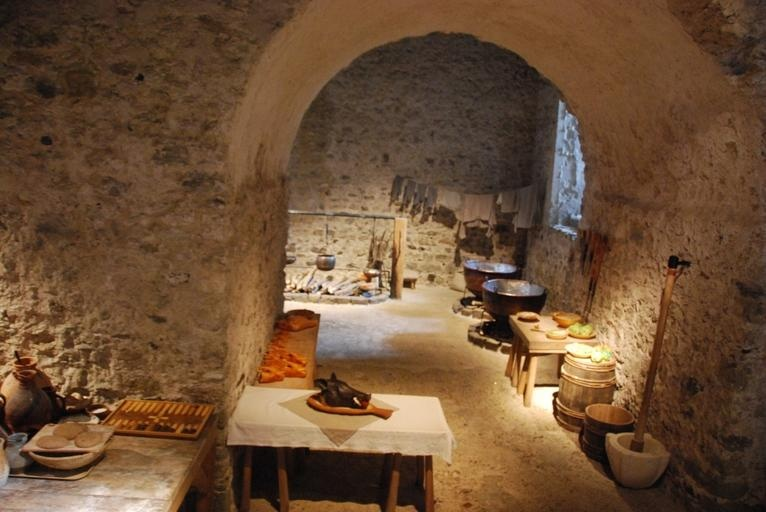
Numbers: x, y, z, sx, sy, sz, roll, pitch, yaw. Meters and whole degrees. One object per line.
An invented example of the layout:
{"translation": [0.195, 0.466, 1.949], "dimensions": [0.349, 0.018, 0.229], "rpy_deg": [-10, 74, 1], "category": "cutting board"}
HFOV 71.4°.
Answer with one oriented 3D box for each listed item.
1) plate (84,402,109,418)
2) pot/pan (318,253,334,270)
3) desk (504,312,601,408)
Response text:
{"translation": [-1.741, 0.936, 3.234], "dimensions": [0.095, 0.034, 0.088], "rpy_deg": [3, 11, -19], "category": "plate"}
{"translation": [-0.955, 0.099, 8.806], "dimensions": [0.279, 0.187, 0.256], "rpy_deg": [1, 2, 0], "category": "pot/pan"}
{"translation": [1.591, 0.967, 5.416], "dimensions": [0.858, 0.683, 0.981], "rpy_deg": [3, 13, -1], "category": "desk"}
